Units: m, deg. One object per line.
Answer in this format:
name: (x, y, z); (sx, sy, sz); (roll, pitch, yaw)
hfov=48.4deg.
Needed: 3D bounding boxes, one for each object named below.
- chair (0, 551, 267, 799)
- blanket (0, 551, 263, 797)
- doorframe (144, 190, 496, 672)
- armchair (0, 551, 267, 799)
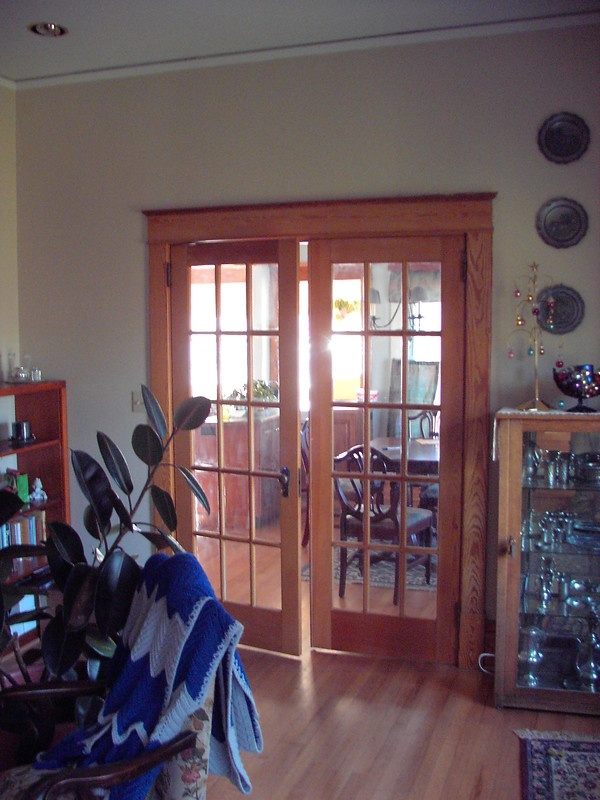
chair: (-0.352, 0.625, 1.751); (0.623, 0.654, 0.508); (8, -4, -36)
blanket: (-0.365, 0.631, 1.755); (0.626, 0.712, 0.502); (9, -5, -37)
doorframe: (0.071, 0.240, 3.356); (1.615, 2.517, 0.121); (2, 23, 14)
armchair: (-0.367, 0.654, 1.734); (0.623, 0.654, 0.508); (8, -4, -36)
